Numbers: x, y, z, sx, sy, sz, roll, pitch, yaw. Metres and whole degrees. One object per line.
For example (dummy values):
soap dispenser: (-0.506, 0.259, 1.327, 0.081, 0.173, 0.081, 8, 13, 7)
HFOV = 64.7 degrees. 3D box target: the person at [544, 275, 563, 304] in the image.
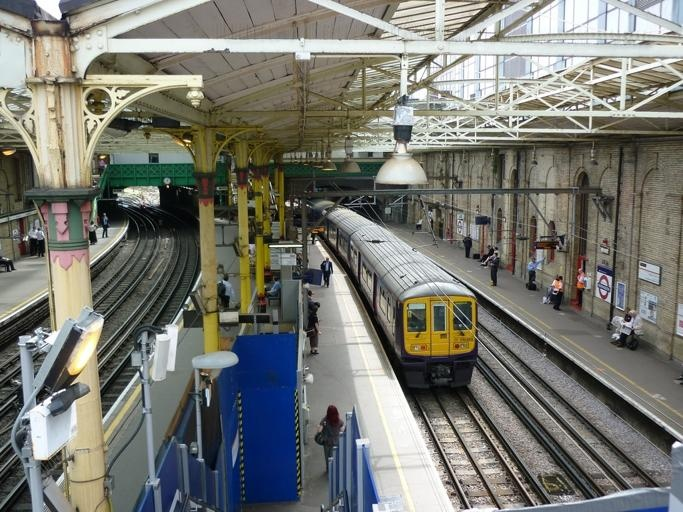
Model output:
person: (9.078, 1.432, 23.245, 0.672, 1.400, 1.826, 4, 13, 19)

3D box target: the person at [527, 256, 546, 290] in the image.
person: (9.379, 0.898, 25.853, 0.512, 0.559, 1.452, 12, -17, 21)

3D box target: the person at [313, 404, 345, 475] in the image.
person: (-0.182, 3.231, 9.476, 0.511, 1.230, 0.414, 3, 10, 3)

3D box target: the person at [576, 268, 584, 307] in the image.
person: (9.798, 1.421, 22.080, 0.321, 1.628, 1.070, 6, 13, 24)

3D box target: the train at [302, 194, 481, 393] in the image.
train: (1.468, 0.141, 21.422, 2.034, 2.234, 14.642, -21, 21, -9)

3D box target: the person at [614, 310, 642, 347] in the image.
person: (9.579, 2.406, 17.929, 0.759, 1.094, 0.838, 5, 3, 30)

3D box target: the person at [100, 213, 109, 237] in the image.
person: (-16.600, -2.037, 37.843, 0.364, 1.415, 2.134, -4, 13, -18)
